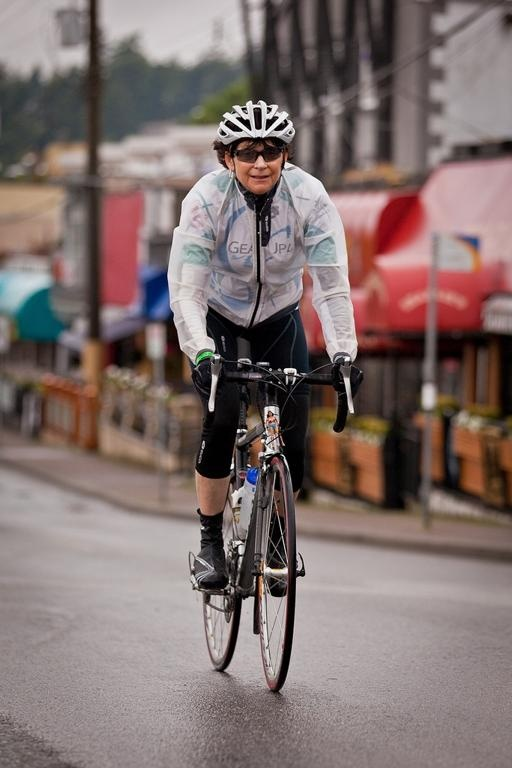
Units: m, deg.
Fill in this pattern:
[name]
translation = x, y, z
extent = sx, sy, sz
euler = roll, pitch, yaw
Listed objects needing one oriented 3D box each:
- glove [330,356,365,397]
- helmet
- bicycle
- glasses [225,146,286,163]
[glove]
translation = 0.321, -0.019, 3.106
extent = 0.102, 0.137, 0.082
euler = 8, 14, 28
[helmet]
translation = -0.018, -0.982, 3.328
extent = 0.308, 0.194, 0.282
euler = 3, 6, 17
[bicycle]
translation = 0.043, 0.578, 3.478
extent = 0.599, 1.440, 1.208
euler = 0, 6, -5
[glasses]
translation = 0.011, -0.836, 3.253
extent = 0.165, 0.069, 0.069
euler = 1, 6, 2
